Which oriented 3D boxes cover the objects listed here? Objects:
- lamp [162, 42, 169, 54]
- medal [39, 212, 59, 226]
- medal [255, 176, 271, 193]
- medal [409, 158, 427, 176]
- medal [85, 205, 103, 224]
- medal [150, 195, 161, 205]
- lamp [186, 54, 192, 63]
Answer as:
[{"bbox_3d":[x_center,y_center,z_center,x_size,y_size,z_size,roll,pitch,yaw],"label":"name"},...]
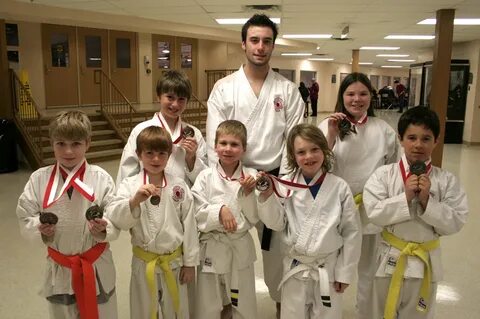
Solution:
[{"bbox_3d":[-2.521,-3.870,12.330,0.069,0.404,0.258,7,11,35],"label":"lamp"},{"bbox_3d":[-1.355,0.427,2.540,0.107,0.128,0.147,-4,10,-23],"label":"medal"},{"bbox_3d":[0.174,0.185,2.691,0.110,0.115,0.038,0,10,2],"label":"medal"},{"bbox_3d":[1.356,0.058,2.726,0.114,0.113,0.175,4,10,26],"label":"medal"},{"bbox_3d":[-1.032,0.382,2.541,0.103,0.126,0.046,-1,7,-21],"label":"medal"},{"bbox_3d":[-0.655,0.316,2.770,0.083,0.101,0.080,-2,10,-13],"label":"medal"},{"bbox_3d":[-1.847,-3.696,13.007,0.257,0.272,0.254,1,7,-1],"label":"lamp"}]
